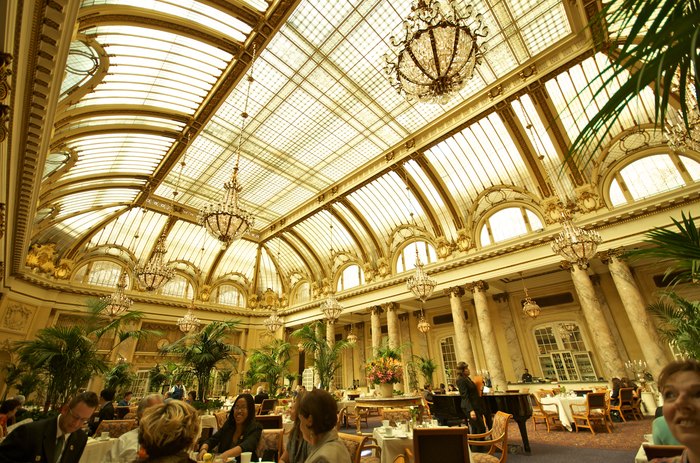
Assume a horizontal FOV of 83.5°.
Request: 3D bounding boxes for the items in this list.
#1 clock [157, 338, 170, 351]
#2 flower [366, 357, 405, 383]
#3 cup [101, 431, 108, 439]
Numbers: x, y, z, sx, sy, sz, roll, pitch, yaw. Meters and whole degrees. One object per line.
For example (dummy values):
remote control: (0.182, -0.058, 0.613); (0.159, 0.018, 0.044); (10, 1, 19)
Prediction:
clock: (-10.116, 6.115, 21.281); (0.625, 0.724, 0.488); (19, -35, -30)
flower: (1.053, 4.188, 11.889); (0.979, 0.768, 0.606); (-8, -30, 12)
cup: (-5.167, 4.314, 8.302); (0.141, 0.106, 0.112); (-7, -17, 14)
